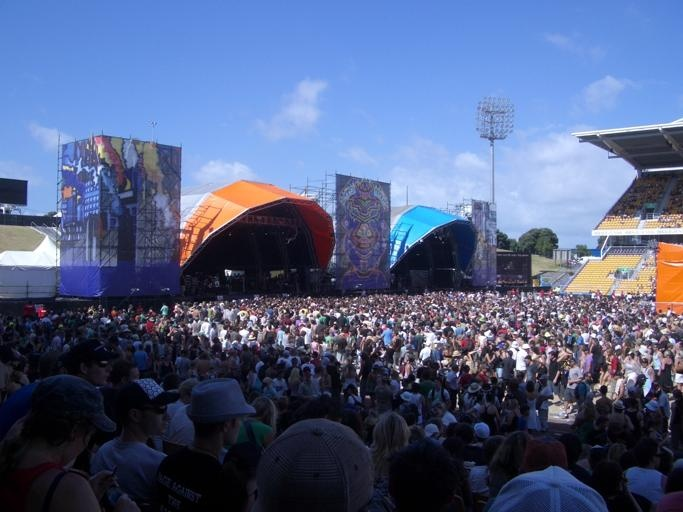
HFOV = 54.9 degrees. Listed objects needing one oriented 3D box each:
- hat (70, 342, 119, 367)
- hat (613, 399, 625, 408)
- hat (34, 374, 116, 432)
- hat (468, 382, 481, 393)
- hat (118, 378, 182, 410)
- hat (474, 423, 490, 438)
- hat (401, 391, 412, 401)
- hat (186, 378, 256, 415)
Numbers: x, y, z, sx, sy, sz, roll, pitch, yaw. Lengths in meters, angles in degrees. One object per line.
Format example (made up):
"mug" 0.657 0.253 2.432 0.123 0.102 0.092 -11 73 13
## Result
"hat" -2.422 0.910 6.332 0.291 0.164 0.211 -8 3 -22
"hat" 4.226 2.238 9.997 0.195 0.085 0.228 -1 -2 27
"hat" -1.815 0.961 4.507 0.482 0.262 0.344 19 -2 -13
"hat" 2.322 2.281 11.500 0.217 0.176 0.418 1 -5 9
"hat" -1.609 1.126 5.394 0.346 0.193 0.249 -3 0 -14
"hat" 1.758 2.187 8.277 0.193 0.169 0.465 1 -5 10
"hat" 1.031 2.210 10.414 0.187 0.125 0.132 1 -5 13
"hat" -0.906 1.068 4.924 0.348 0.157 0.289 -2 0 -43
